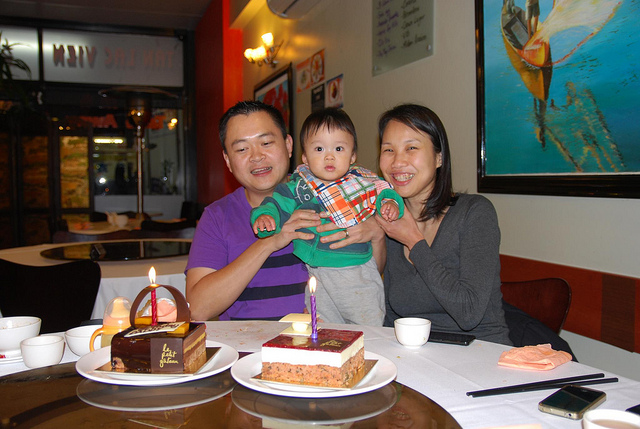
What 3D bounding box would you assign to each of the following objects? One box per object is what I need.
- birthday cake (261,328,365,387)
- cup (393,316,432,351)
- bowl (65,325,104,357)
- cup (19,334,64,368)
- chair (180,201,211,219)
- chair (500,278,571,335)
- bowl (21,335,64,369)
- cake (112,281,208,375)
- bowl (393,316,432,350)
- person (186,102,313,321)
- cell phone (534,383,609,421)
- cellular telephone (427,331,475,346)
[{"bbox_3d":[-0.009,0.434,1.492,0.307,0.138,0.238,1,6,25],"label":"birthday cake"},{"bbox_3d":[0.347,0.442,1.651,0.124,0.087,0.120,0,-5,0],"label":"cup"},{"bbox_3d":[-0.887,0.463,1.655,0.124,0.071,0.121,0,-8,0],"label":"bowl"},{"bbox_3d":[-0.996,0.498,1.561,0.132,0.090,0.129,1,-4,0],"label":"cup"},{"bbox_3d":[-2.008,-0.080,6.995,0.305,0.411,0.376,3,-11,-4],"label":"chair"},{"bbox_3d":[1.138,0.503,2.324,0.294,0.352,0.305,-12,-20,38],"label":"chair"},{"bbox_3d":[-0.993,0.496,1.560,0.129,0.096,0.122,1,2,0],"label":"bowl"},{"bbox_3d":[-0.568,0.385,1.543,0.295,0.246,0.295,1,4,11],"label":"cake"},{"bbox_3d":[0.351,0.440,1.653,0.122,0.082,0.119,-1,-8,0],"label":"bowl"},{"bbox_3d":[-0.387,-0.019,2.257,0.637,1.111,0.476,-5,4,-17],"label":"person"},{"bbox_3d":[0.760,0.570,1.328,0.211,0.054,0.093,-5,4,-25],"label":"cell phone"},{"bbox_3d":[0.513,0.485,1.727,0.109,0.014,0.066,1,4,21],"label":"cellular telephone"}]
